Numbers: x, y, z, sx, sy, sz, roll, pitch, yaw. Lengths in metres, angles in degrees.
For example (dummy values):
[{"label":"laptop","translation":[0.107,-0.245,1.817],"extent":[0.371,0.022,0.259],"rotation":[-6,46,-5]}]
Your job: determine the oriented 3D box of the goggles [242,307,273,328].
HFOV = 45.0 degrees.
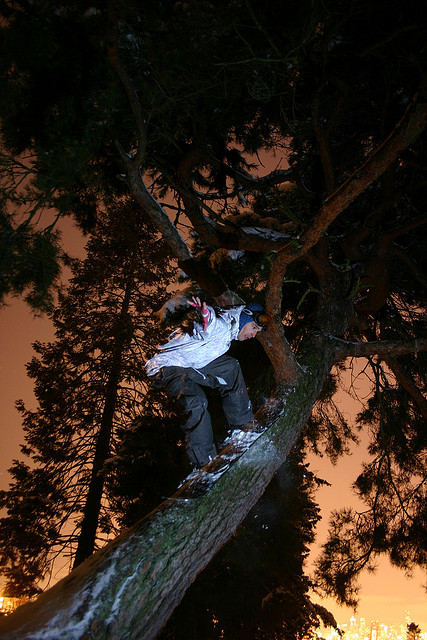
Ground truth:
[{"label":"goggles","translation":[0.411,-0.031,4.802],"extent":[0.198,0.110,0.146],"rotation":[32,-23,15]}]
